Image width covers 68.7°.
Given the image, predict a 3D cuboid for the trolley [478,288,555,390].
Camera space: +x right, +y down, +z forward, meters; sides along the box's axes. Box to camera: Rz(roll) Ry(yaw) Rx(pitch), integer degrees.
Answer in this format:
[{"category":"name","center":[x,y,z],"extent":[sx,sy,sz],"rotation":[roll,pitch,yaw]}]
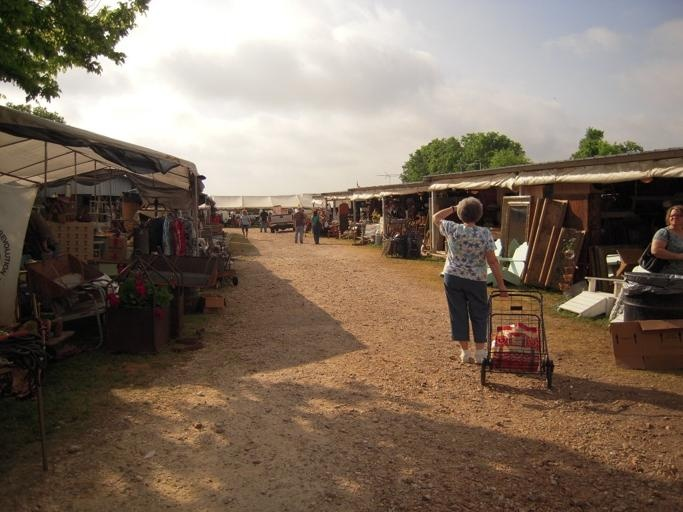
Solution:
[{"category":"trolley","center":[2.409,1.042,6.873],"extent":[0.835,1.004,1.426],"rotation":[-3,8,20]}]

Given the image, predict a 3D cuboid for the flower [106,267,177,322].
[{"category":"flower","center":[-3.122,0.555,7.895],"extent":[0.974,0.848,1.039],"rotation":[4,0,9]}]

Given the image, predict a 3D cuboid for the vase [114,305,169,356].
[{"category":"vase","center":[-3.082,1.097,7.792],"extent":[0.645,0.622,0.928],"rotation":[0,-1,-2]}]

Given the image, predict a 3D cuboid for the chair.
[{"category":"chair","center":[-4.133,0.544,7.722],"extent":[0.607,1.073,1.170],"rotation":[7,12,35]}]

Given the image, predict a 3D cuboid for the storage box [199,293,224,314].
[{"category":"storage box","center":[-2.701,0.998,10.457],"extent":[0.422,0.306,0.417],"rotation":[0,1,-2]}]

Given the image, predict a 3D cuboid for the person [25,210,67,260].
[{"category":"person","center":[-5.188,-0.345,8.593],"extent":[0.569,0.809,0.515],"rotation":[-6,12,-31]}]
